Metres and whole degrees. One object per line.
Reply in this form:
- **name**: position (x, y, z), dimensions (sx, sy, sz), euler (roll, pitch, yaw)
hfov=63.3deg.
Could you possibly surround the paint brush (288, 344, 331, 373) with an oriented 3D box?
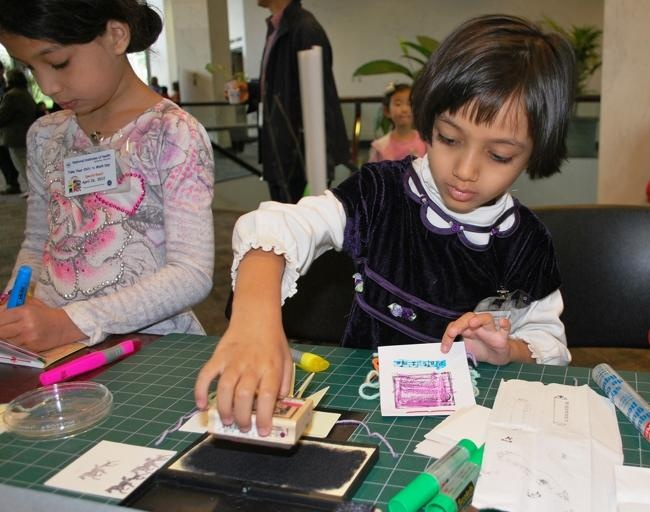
- **paint brush**: position (-0.025, 0.191, 1.027), dimensions (0.043, 0.026, 0.078), euler (-9, 15, -30)

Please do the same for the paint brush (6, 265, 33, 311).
- **paint brush**: position (-0.719, 0.078, 1.248), dimensions (0.021, 0.080, 0.077), euler (15, 5, 25)
